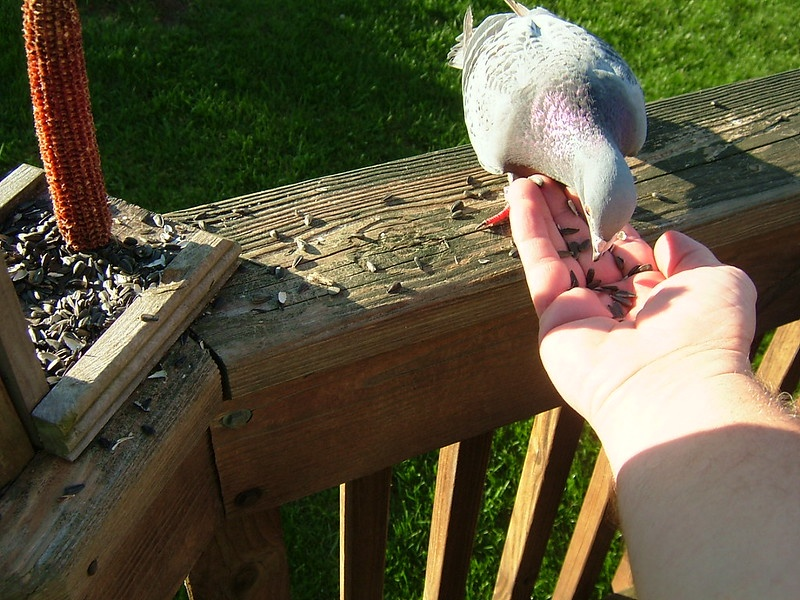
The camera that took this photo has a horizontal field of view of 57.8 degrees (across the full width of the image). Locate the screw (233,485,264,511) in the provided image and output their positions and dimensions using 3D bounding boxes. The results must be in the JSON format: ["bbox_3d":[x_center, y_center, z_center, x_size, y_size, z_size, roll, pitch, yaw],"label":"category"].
[{"bbox_3d":[-0.294,0.384,1.404,0.048,0.045,0.012,-34,42,-4],"label":"screw"}]

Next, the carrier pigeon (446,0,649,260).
[{"bbox_3d":[0.421,-0.606,2.020,0.377,0.933,0.366,-10,-6,-9],"label":"carrier pigeon"}]

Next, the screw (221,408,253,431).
[{"bbox_3d":[-0.297,0.217,1.319,0.058,0.032,0.011,-6,31,-18],"label":"screw"}]

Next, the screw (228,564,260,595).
[{"bbox_3d":[-0.325,0.589,1.523,0.054,0.072,0.010,23,11,-29],"label":"screw"}]
